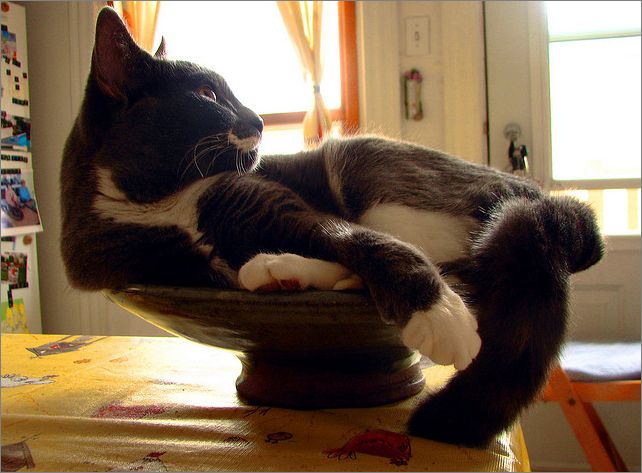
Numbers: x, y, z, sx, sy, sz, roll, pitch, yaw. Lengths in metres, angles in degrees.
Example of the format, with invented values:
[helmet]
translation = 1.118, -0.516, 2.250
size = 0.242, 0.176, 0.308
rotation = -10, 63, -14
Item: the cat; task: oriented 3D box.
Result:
[cat]
translation = 0.033, 0.032, 1.254
size = 0.991, 0.588, 0.672
rotation = 5, -10, -17
